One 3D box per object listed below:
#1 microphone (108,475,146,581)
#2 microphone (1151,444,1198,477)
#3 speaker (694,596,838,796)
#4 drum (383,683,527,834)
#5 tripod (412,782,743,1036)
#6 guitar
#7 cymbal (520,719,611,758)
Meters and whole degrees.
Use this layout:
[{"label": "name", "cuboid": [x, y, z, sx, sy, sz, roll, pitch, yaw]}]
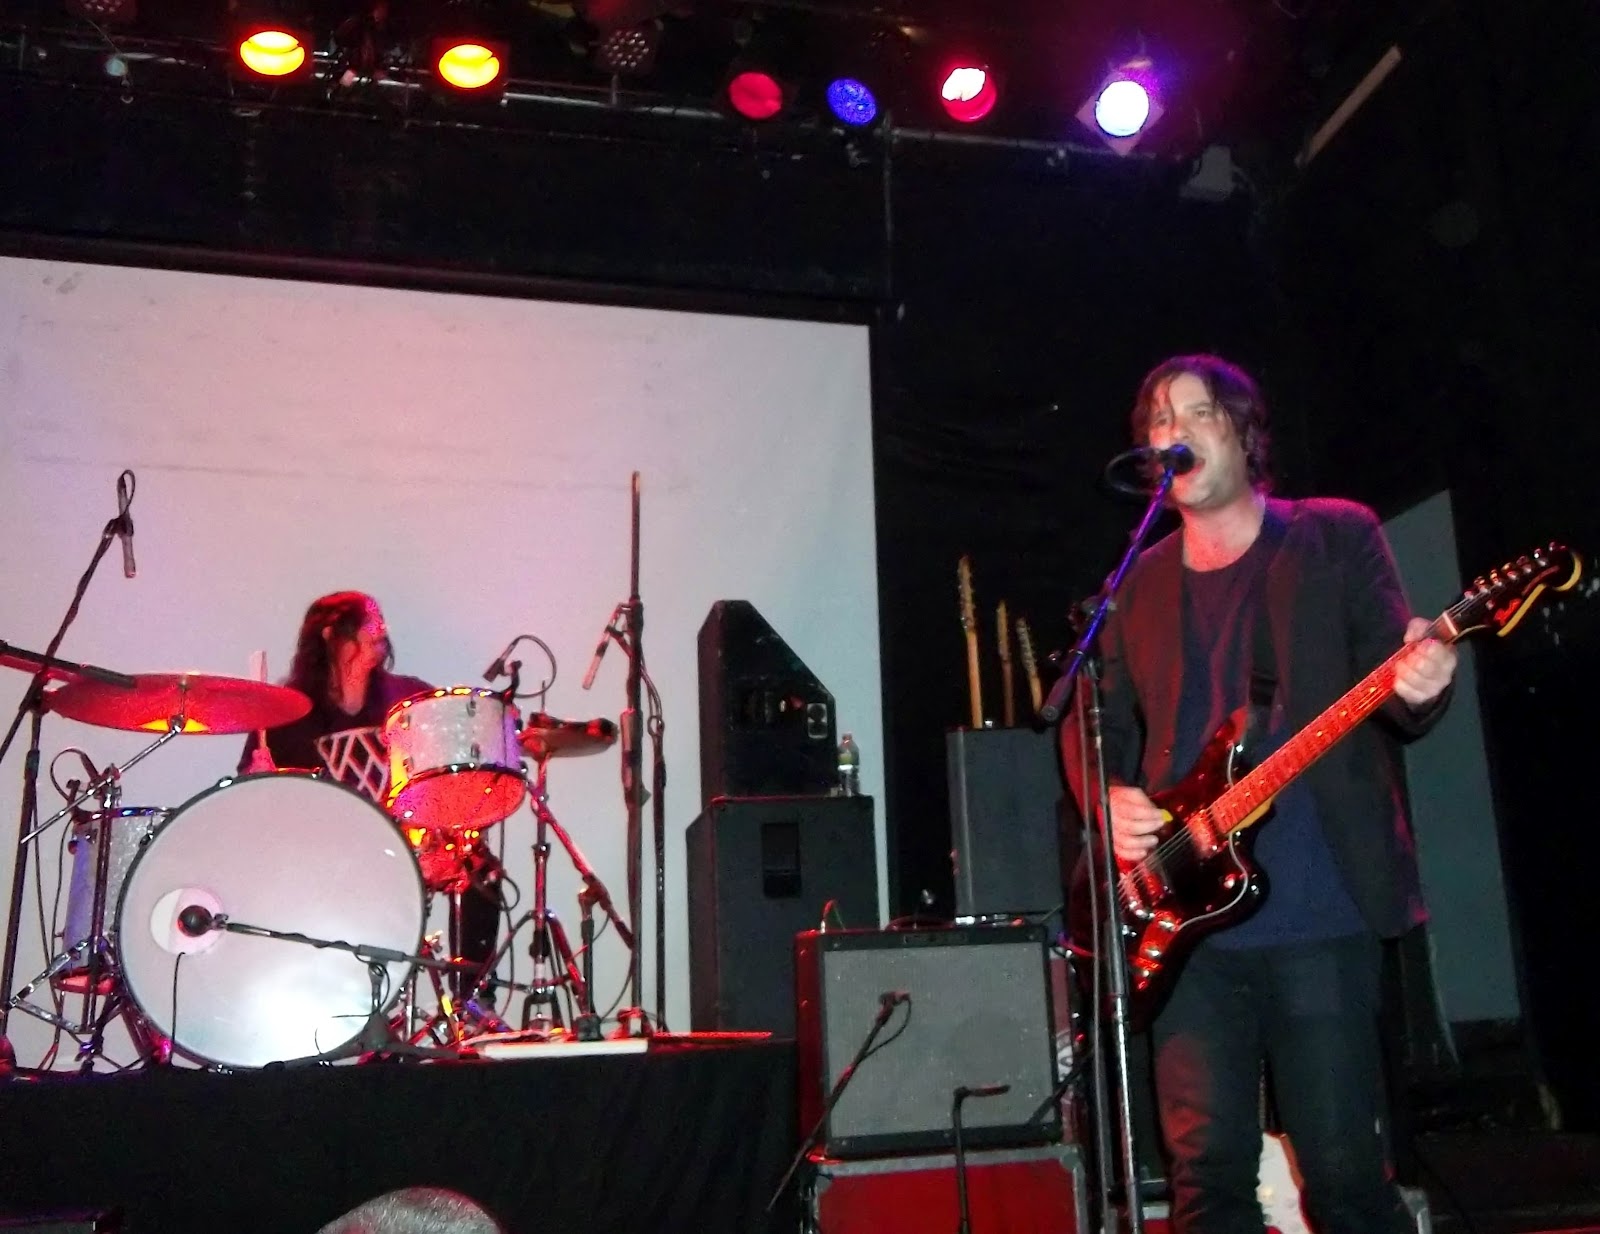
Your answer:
[{"label": "microphone", "cuboid": [-2.728, -0.346, 6.219, 0.115, 0.417, 0.066, -7, 12, -41]}, {"label": "microphone", "cuboid": [0.980, -0.403, 3.998, 0.054, 0.039, 0.118, -9, -5, -14]}, {"label": "speaker", "cuboid": [-0.188, 0.437, 6.042, 0.539, 1.041, 1.049, 0, -12, -10]}, {"label": "drum", "cuboid": [-1.212, 0.533, 5.521, 0.467, 0.379, 0.503, -8, -25, -4]}, {"label": "tripod", "cuboid": [-0.776, 1.063, 5.737, 1.082, 1.226, 0.929, 1, -13, -5]}, {"label": "guitar", "cuboid": [1.245, 0.419, 3.853, 1.279, 0.976, 0.470, -9, -22, 24]}, {"label": "cymbal", "cuboid": [-0.889, 0.456, 5.867, 0.254, 0.117, 0.193, -3, -8, 3]}]
